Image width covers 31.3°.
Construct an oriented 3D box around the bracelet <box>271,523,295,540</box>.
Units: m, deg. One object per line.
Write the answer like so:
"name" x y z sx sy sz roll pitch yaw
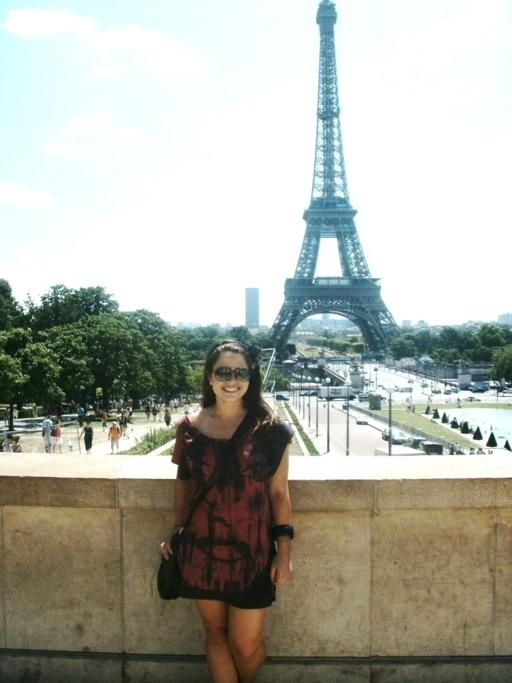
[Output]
"bracelet" 0.119 0.892 4.122 0.074 0.053 0.076 -1 0 -5
